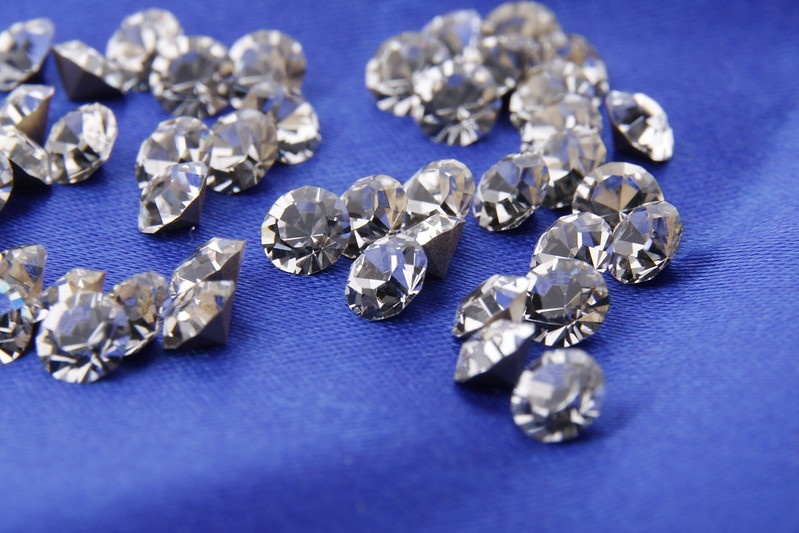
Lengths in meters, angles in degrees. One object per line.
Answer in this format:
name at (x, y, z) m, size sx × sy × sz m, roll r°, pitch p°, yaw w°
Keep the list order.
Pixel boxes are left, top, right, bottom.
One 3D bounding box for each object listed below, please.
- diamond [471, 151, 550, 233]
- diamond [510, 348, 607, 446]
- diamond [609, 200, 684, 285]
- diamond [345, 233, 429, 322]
diamond at (0.111, -0.074, 0.857) m, size 0.066 × 0.034 × 0.078 m, roll -2°, pitch 59°, yaw 35°
diamond at (0.141, 0.114, 0.745) m, size 0.082 × 0.087 × 0.040 m, roll 7°, pitch 48°, yaw 0°
diamond at (0.233, -0.024, 0.833) m, size 0.060 × 0.030 × 0.080 m, roll 40°, pitch 94°, yaw 0°
diamond at (-0.010, 0.011, 0.803) m, size 0.038 × 0.072 × 0.076 m, roll 44°, pitch 27°, yaw -16°
